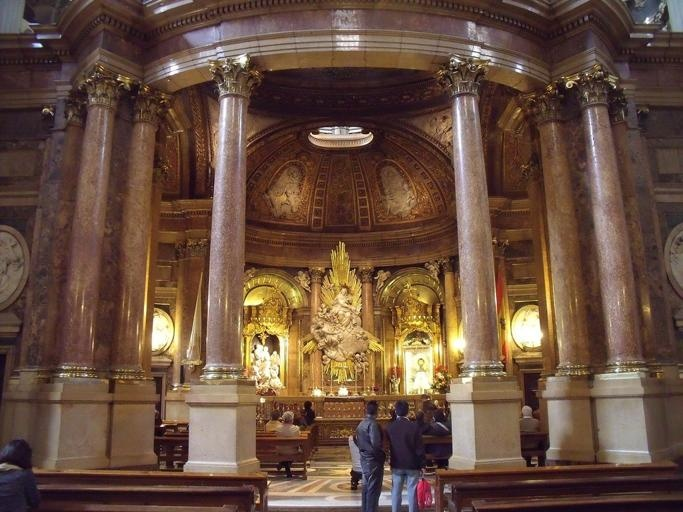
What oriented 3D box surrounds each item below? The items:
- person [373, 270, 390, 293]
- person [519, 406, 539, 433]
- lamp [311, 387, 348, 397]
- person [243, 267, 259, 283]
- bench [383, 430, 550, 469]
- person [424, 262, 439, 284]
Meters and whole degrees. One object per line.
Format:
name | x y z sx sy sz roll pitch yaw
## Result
person | 1.762 1.032 25.292 0.719 0.928 0.203 -2 -15 4
person | 4.775 4.144 15.045 0.459 0.608 0.942 -6 -15 18
lamp | -0.414 5.214 22.887 1.413 0.332 1.095 -1 -14 0
person | -3.710 0.729 24.455 0.482 0.625 0.999 1 -14 -8
bench | 2.515 3.903 11.933 2.435 0.561 0.668 0 -2 1
person | 3.783 0.651 24.452 0.506 0.853 0.816 2 -14 -10
